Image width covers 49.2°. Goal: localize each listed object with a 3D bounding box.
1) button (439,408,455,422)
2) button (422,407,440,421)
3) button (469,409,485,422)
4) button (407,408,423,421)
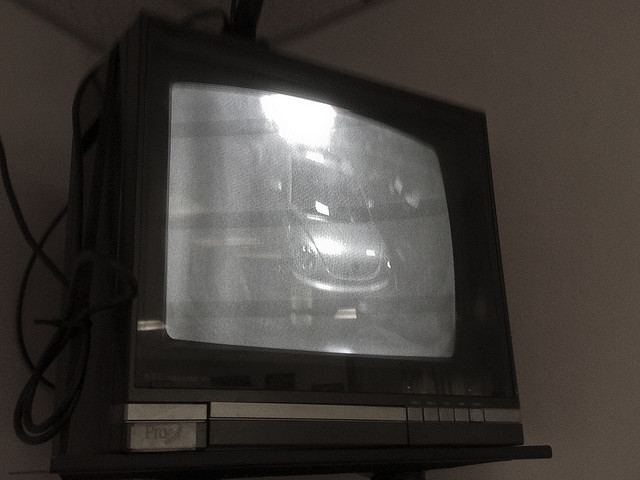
[{"bbox_3d":[0.207,0.287,1.148,0.019,0.017,0.010,8,-20,-25],"label":"button"},{"bbox_3d":[0.181,0.282,1.136,0.032,0.022,0.002,11,-17,-27],"label":"button"},{"bbox_3d":[0.262,0.294,1.173,0.019,0.017,0.010,6,-17,-21],"label":"button"},{"bbox_3d":[0.151,0.279,1.121,0.017,0.016,0.009,7,-17,-22],"label":"button"}]
